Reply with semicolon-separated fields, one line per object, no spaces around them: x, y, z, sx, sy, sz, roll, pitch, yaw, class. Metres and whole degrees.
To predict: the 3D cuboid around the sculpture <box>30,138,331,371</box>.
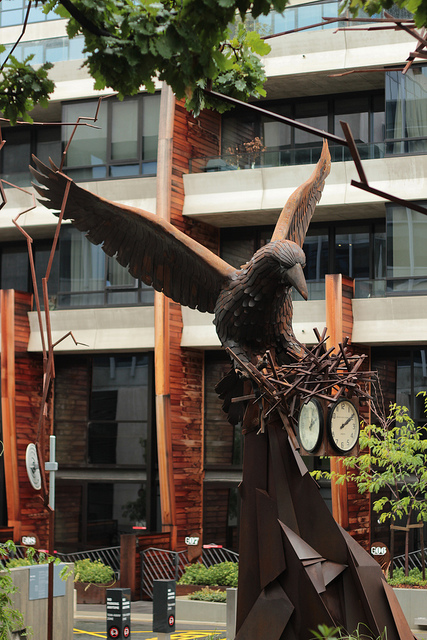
0.163;-0.615;14.215;3.510;2.430;2.050;-4;-5;-21;sculpture

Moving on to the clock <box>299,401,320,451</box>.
0.948;1.062;13.845;0.042;0.421;0.408;6;-17;-16;clock
